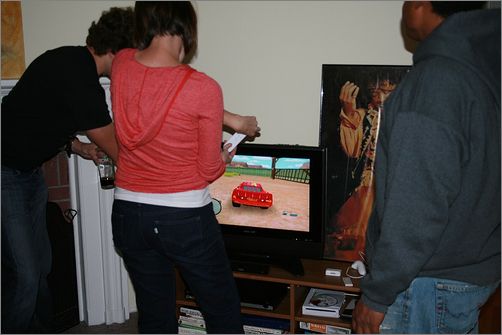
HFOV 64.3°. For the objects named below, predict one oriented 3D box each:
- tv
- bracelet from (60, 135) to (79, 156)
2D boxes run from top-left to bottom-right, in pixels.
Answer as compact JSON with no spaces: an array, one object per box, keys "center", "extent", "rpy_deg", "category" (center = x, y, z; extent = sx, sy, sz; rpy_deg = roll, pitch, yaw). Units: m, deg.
[{"center":[0.119,0.246,2.393],"extent":[0.776,0.743,0.306],"rpy_deg":[2,7,11],"category":"tv"},{"center":[-1.087,-0.139,2.404],"extent":[0.048,0.141,0.055],"rpy_deg":[9,-3,-20],"category":"bracelet"}]
